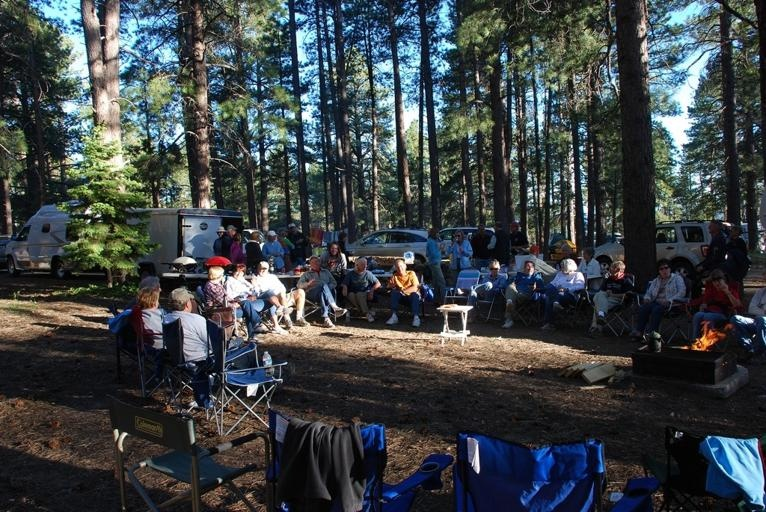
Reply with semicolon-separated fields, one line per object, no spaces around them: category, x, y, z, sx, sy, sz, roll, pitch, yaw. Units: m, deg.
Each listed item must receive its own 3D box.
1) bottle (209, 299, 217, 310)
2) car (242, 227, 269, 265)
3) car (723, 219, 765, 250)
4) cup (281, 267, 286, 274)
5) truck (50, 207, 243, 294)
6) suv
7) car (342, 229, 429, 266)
bottle;-3.799;1.042;17.646;0.183;0.165;0.282;0;0;-11
car;-3.936;-0.415;23.685;0.929;0.938;1.672;0;8;4
car;10.810;-0.624;23.537;1.100;1.064;1.805;2;9;23
cup;-2.924;0.400;23.367;0.156;0.193;0.156;0;2;0
truck;-7.614;-0.419;24.454;4.887;2.160;2.785;1;0;18
suv;8.162;-0.412;23.986;4.046;2.031;2.287;3;3;38
car;0.258;-0.305;25.463;2.237;0.996;1.072;2;1;25
